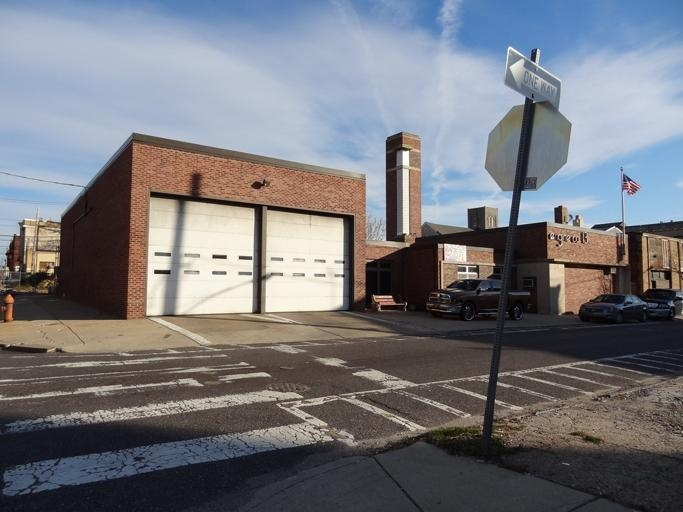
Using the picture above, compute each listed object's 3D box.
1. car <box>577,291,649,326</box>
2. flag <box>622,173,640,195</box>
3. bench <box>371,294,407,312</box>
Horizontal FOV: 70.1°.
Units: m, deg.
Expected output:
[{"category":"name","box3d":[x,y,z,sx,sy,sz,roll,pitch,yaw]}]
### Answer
[{"category":"car","box3d":[14.144,2.702,25.385,3.657,1.428,1.431,0,1,-29]},{"category":"flag","box3d":[22.605,-5.638,38.118,1.138,1.523,1.038,2,2,27]},{"category":"bench","box3d":[2.500,2.506,25.983,1.496,0.944,3.216,1,1,14]}]
